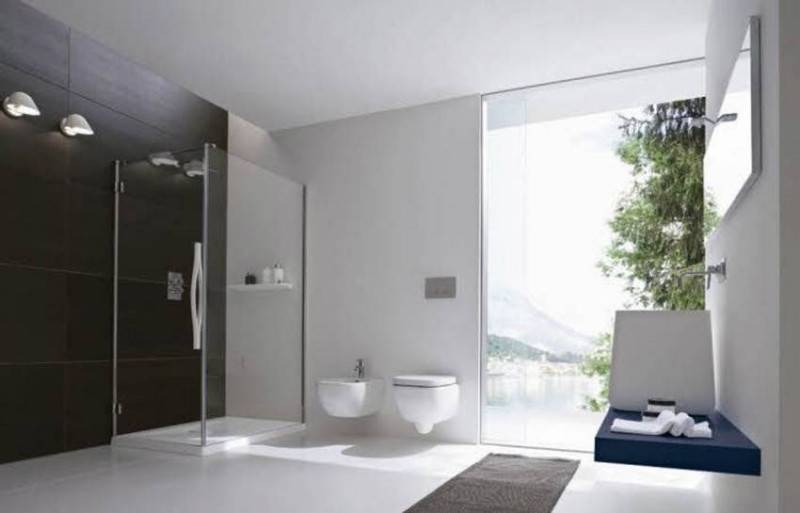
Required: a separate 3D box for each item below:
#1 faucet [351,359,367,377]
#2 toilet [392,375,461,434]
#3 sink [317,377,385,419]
[{"bbox_3d":[-0.435,1.144,5.604,0.166,0.201,0.075,-6,-8,38],"label":"faucet"},{"bbox_3d":[0.238,1.403,5.127,0.555,0.526,0.653,-4,-12,18],"label":"toilet"},{"bbox_3d":[-0.514,1.405,5.481,0.550,0.377,0.712,-4,-9,28],"label":"sink"}]
